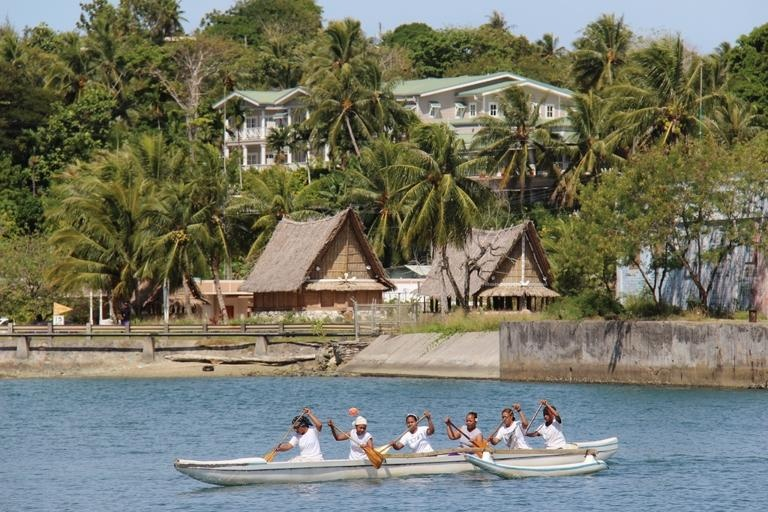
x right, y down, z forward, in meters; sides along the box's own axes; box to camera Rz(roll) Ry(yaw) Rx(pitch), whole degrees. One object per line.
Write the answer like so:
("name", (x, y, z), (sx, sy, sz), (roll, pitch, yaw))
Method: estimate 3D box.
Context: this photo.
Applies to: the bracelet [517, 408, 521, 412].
("bracelet", (8.057, 8.891, 101.805), (0.200, 0.282, 0.251), (0, -5, 3))
